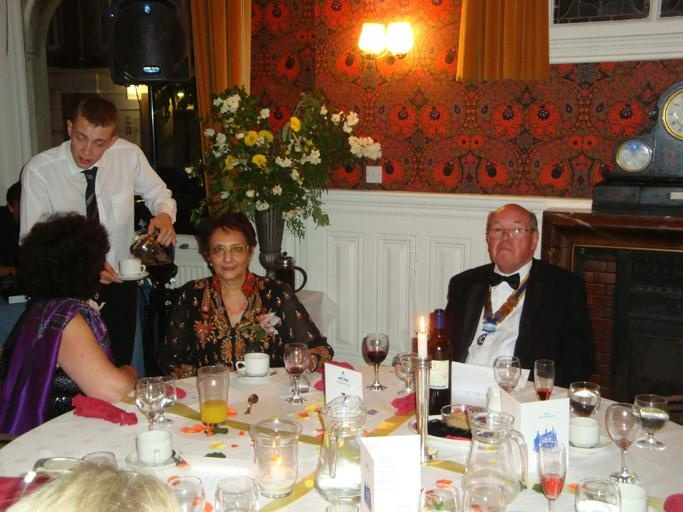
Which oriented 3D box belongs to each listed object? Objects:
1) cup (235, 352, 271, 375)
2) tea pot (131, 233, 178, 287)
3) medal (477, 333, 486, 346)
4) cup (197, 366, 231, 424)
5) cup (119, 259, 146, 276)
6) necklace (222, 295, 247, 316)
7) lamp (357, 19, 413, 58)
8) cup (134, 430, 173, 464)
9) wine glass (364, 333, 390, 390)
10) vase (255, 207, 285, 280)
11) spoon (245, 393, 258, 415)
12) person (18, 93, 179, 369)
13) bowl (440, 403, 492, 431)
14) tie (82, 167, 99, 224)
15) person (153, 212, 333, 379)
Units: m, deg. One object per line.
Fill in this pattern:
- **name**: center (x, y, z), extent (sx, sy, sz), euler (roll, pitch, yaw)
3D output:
- **cup**: center (-0.395, 0.455, 2.541), extent (0.116, 0.080, 0.089), euler (-1, 2, -7)
- **tea pot**: center (-1.006, -0.023, 3.320), extent (0.276, 0.298, 0.223), euler (-4, 41, 1)
- **medal**: center (0.723, 0.427, 3.034), extent (0.034, 0.062, 0.058), euler (4, 6, 32)
- **cup**: center (-0.452, 0.483, 2.089), extent (0.157, 0.256, 0.164), euler (-1, -4, 0)
- **cup**: center (-1.099, 0.061, 3.085), extent (0.103, 0.079, 0.082), euler (3, -3, 7)
- **necklace**: center (-0.524, 0.243, 2.882), extent (0.120, 0.142, 0.063), euler (0, 5, -10)
- **lamp**: center (0.337, -1.636, 4.464), extent (0.407, 0.285, 0.261), euler (2, 3, 7)
- **cup**: center (-0.571, 0.599, 1.802), extent (0.080, 0.081, 0.123), euler (-7, -5, -19)
- **wine glass**: center (0.149, 0.452, 2.524), extent (0.149, 0.222, 0.153), euler (3, -5, -20)
- **vase**: center (-0.534, -0.052, 4.351), extent (0.290, 0.625, 0.300), euler (-1, 10, -9)
- **spoon**: center (-0.350, 0.558, 2.237), extent (0.025, 0.065, 0.010), euler (20, -31, -6)
- **person**: center (-1.474, 0.159, 3.703), extent (0.796, 2.199, 0.887), euler (27, 31, 37)
- **bowl**: center (0.409, 0.560, 2.071), extent (0.113, 0.046, 0.119), euler (-2, 1, 0)
- **tie**: center (-1.481, -0.412, 3.481), extent (0.082, 0.034, 0.311), euler (-7, 49, -14)
- **person**: center (-0.506, 0.284, 2.869), extent (0.752, 0.997, 0.663), euler (-1, 30, -2)
